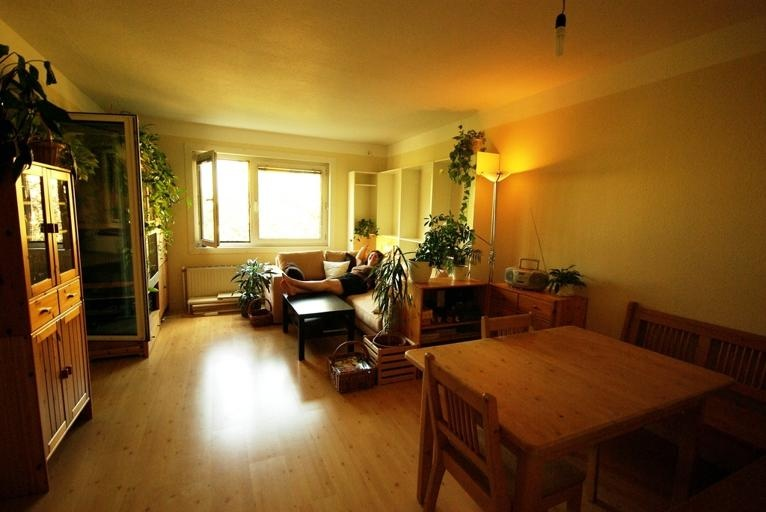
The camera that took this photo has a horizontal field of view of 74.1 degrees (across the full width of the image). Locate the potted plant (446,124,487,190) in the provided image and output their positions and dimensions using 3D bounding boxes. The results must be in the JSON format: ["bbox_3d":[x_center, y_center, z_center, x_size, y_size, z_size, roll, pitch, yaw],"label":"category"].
[{"bbox_3d":[0.982,-1.230,6.035,0.314,0.612,0.303,6,13,-41],"label":"potted plant"}]

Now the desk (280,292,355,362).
[{"bbox_3d":[-0.792,0.769,6.038,0.760,0.571,1.043,-2,13,-14],"label":"desk"}]

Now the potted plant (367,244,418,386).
[{"bbox_3d":[0.071,0.584,5.382,0.548,1.327,0.718,-2,14,-10],"label":"potted plant"}]

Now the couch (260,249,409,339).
[{"bbox_3d":[-0.524,0.266,6.716,1.532,0.610,1.083,-7,10,-17],"label":"couch"}]

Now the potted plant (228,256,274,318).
[{"bbox_3d":[-1.805,0.421,7.086,0.790,0.904,0.747,0,10,-19],"label":"potted plant"}]

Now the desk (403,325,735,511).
[{"bbox_3d":[1.437,0.944,3.821,1.413,1.125,1.771,-3,9,-30],"label":"desk"}]

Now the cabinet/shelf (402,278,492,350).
[{"bbox_3d":[0.639,0.627,5.528,0.905,0.671,0.455,-2,6,-30],"label":"cabinet/shelf"}]

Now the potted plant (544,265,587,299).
[{"bbox_3d":[1.885,0.259,5.212,0.322,0.222,0.324,-3,6,-12],"label":"potted plant"}]

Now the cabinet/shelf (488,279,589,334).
[{"bbox_3d":[1.632,0.679,5.505,0.532,0.649,0.947,-3,10,-34],"label":"cabinet/shelf"}]

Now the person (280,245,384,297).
[{"bbox_3d":[-0.681,0.275,6.648,1.206,0.479,0.572,-14,11,-29],"label":"person"}]

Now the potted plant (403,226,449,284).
[{"bbox_3d":[0.506,-0.005,5.642,0.335,0.584,0.425,14,-6,16],"label":"potted plant"}]

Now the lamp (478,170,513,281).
[{"bbox_3d":[1.268,-0.319,5.903,0.318,1.311,0.662,4,14,13],"label":"lamp"}]

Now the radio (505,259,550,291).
[{"bbox_3d":[1.555,0.196,5.450,0.431,0.340,0.236,9,2,37],"label":"radio"}]

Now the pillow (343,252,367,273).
[{"bbox_3d":[-0.396,0.100,7.251,0.283,0.088,0.273,8,40,-5],"label":"pillow"}]

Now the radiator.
[{"bbox_3d":[-2.342,0.489,7.281,0.927,0.616,0.569,-1,10,-15],"label":"radiator"}]
